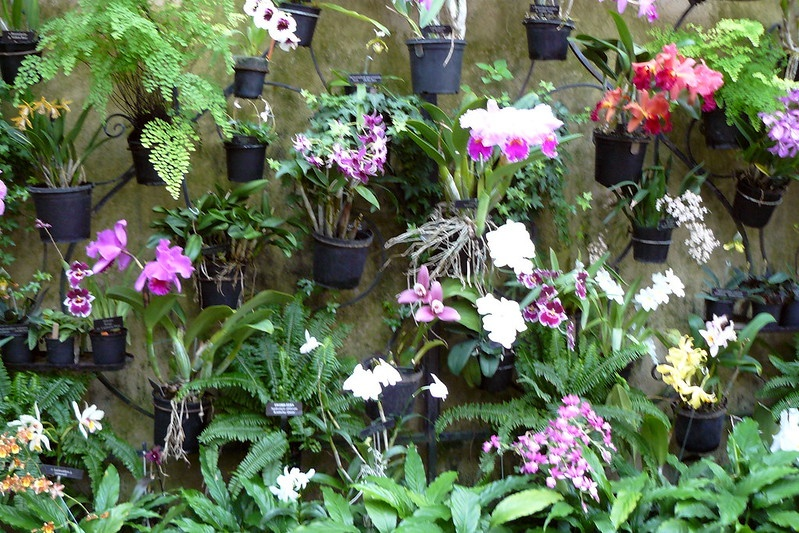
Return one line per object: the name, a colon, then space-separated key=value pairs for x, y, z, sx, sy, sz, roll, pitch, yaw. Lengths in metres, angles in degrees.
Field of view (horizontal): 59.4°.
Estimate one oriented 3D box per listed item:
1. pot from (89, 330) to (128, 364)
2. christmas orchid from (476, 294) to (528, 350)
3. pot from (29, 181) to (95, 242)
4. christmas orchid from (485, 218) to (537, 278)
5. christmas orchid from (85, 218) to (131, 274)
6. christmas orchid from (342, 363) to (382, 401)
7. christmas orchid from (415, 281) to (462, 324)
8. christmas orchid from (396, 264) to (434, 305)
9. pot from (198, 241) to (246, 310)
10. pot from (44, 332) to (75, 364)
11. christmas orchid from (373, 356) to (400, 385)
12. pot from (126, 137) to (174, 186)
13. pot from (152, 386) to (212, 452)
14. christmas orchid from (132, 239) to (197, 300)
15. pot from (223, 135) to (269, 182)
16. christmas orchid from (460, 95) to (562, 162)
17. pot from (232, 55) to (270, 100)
pot: x=-1.466 y=0.403 z=3.575 sx=0.161 sy=0.143 sz=0.161 roll=0 pitch=4 yaw=0
christmas orchid: x=0.506 y=0.270 z=3.541 sx=0.245 sy=0.254 sz=0.120 roll=5 pitch=6 yaw=7
pot: x=-1.659 y=-0.279 z=3.469 sx=0.270 sy=0.255 sz=0.274 roll=0 pitch=5 yaw=0
christmas orchid: x=0.564 y=-0.087 z=3.487 sx=0.207 sy=0.283 sz=0.063 roll=-20 pitch=0 yaw=-9
christmas orchid: x=-1.435 y=-0.112 z=3.483 sx=0.193 sy=0.252 sz=0.215 roll=1 pitch=7 yaw=-24
christmas orchid: x=-0.183 y=0.565 z=3.442 sx=0.167 sy=0.186 sz=0.161 roll=3 pitch=6 yaw=-5
christmas orchid: x=0.168 y=0.187 z=3.576 sx=0.242 sy=0.132 sz=0.311 roll=-8 pitch=16 yaw=9
christmas orchid: x=0.086 y=0.100 z=3.579 sx=0.168 sy=0.199 sz=0.088 roll=17 pitch=4 yaw=28
pot: x=-0.941 y=0.027 z=3.673 sx=0.277 sy=0.368 sz=0.289 roll=1 pitch=5 yaw=0
pot: x=-1.718 y=0.414 z=3.575 sx=0.124 sy=0.113 sz=0.133 roll=1 pitch=7 yaw=0
christmas orchid: x=-0.065 y=0.524 z=3.460 sx=0.107 sy=0.147 sz=0.042 roll=-41 pitch=18 yaw=-6
pot: x=-1.329 y=-0.556 z=3.684 sx=0.218 sy=0.258 sz=0.223 roll=-2 pitch=3 yaw=0
pot: x=-1.129 y=0.791 z=3.727 sx=0.267 sy=0.279 sz=0.333 roll=2 pitch=0 yaw=3
christmas orchid: x=-1.120 y=-0.010 z=3.399 sx=0.203 sy=0.193 sz=0.263 roll=-18 pitch=55 yaw=-41
pot: x=-0.790 y=-0.578 z=3.686 sx=0.212 sy=0.199 sz=0.219 roll=2 pitch=15 yaw=-1
christmas orchid: x=0.536 y=-0.656 z=3.418 sx=0.484 sy=0.295 sz=0.177 roll=5 pitch=6 yaw=5
pot: x=-0.753 y=-0.969 z=3.579 sx=0.172 sy=0.195 sz=0.189 roll=2 pitch=13 yaw=-1
